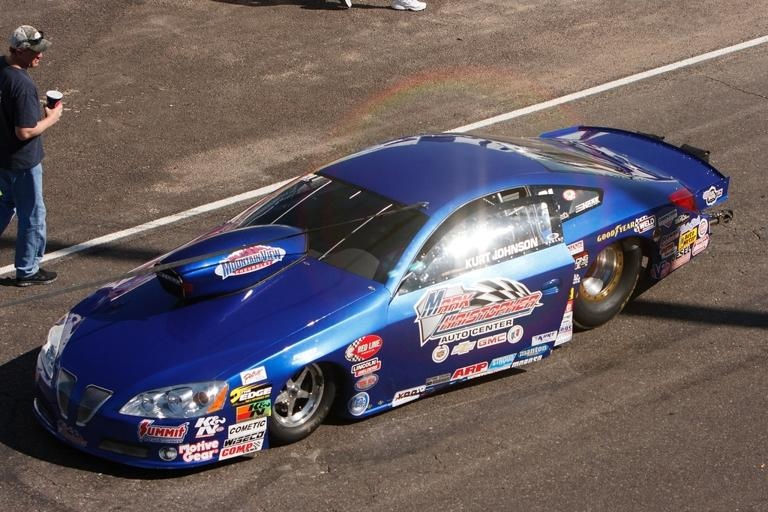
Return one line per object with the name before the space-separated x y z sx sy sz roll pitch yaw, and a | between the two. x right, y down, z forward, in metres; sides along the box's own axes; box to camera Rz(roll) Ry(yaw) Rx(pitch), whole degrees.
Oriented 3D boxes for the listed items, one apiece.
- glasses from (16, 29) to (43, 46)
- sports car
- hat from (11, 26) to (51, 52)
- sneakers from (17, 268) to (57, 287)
glasses | -3.561 -2.191 9.020 0.210 0.119 0.144 -9 48 -7
sports car | 0.135 0.124 8.348 6.119 1.598 2.702 -19 36 -22
hat | -3.560 -2.169 9.072 0.394 0.198 0.244 7 48 -9
sneakers | -3.655 0.244 9.464 0.398 0.172 0.154 -10 28 -17
